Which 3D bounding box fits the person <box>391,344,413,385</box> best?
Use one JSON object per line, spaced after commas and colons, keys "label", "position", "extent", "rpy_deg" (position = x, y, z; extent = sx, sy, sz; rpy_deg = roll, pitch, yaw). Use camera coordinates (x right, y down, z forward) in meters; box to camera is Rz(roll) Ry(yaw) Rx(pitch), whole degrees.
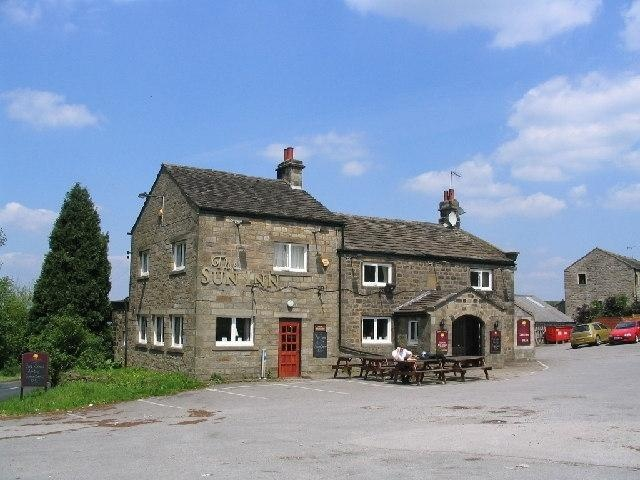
{"label": "person", "position": [3.317, 5.004, 30.496], "extent": [0.715, 1.435, 2.551], "rpy_deg": [-2, -12, 6]}

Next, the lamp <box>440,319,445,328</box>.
{"label": "lamp", "position": [5.312, 3.678, 33.199], "extent": [0.285, 0.406, 0.099], "rpy_deg": [9, -15, -40]}
